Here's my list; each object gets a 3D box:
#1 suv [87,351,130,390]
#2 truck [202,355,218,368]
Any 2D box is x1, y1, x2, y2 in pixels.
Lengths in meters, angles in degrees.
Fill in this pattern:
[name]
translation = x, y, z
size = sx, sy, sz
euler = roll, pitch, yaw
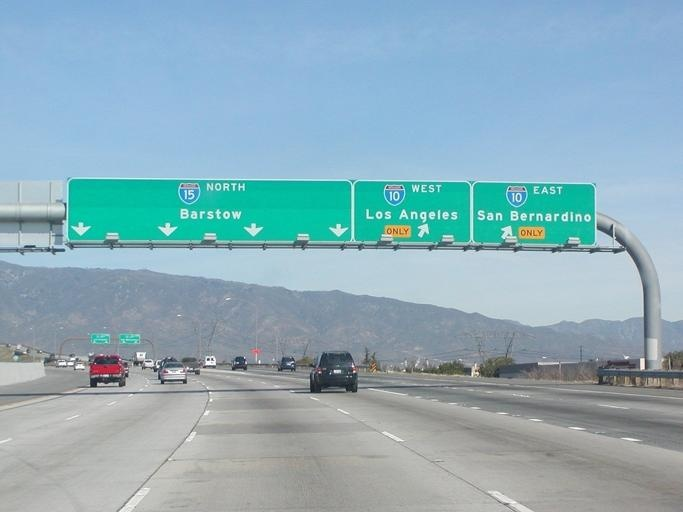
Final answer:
[suv]
translation = -14.184, 6.910, 64.464
size = 1.724, 1.664, 3.392
euler = 0, 0, -1
[truck]
translation = -15.818, 13.311, 127.425
size = 1.909, 1.640, 3.355
euler = 1, 2, -8
